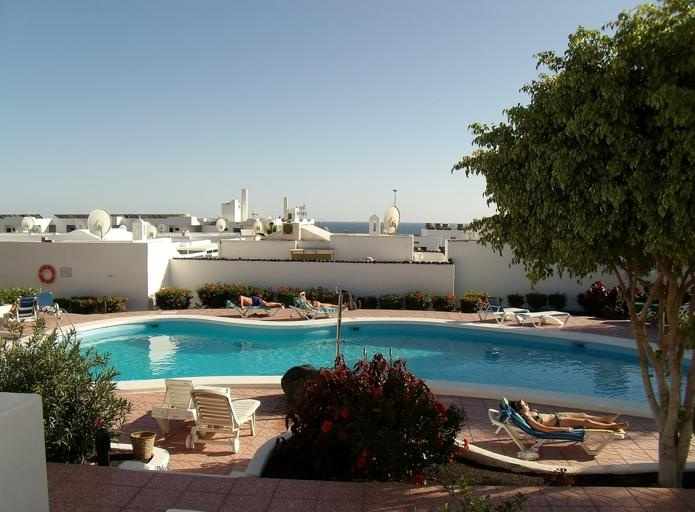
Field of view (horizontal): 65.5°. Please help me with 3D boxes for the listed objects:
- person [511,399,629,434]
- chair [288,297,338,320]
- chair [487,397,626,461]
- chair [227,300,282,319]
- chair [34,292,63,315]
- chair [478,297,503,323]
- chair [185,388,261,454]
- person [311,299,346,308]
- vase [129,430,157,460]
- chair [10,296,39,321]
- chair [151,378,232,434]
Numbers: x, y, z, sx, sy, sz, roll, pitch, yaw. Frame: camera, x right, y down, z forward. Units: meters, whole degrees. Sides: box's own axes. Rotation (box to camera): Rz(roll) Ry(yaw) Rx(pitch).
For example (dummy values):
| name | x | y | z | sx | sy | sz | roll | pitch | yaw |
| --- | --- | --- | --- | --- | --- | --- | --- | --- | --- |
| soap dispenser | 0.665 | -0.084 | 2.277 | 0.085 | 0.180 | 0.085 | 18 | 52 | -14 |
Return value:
| name | x | y | z | sx | sy | sz | roll | pitch | yaw |
| --- | --- | --- | --- | --- | --- | --- | --- | --- | --- |
| person | 3.483 | 2.639 | 8.623 | 1.201 | 0.386 | 0.807 | -2 | -1 | 4 |
| chair | -1.155 | 1.823 | 17.825 | 1.192 | 0.456 | 0.714 | -3 | 9 | -32 |
| chair | 3.258 | 2.733 | 8.609 | 1.793 | 0.773 | 0.963 | -4 | 5 | 6 |
| chair | -3.171 | 1.906 | 18.392 | 1.190 | 0.394 | 0.740 | -2 | 3 | -11 |
| chair | -8.913 | 1.427 | 15.846 | 0.517 | 0.776 | 1.508 | -4 | 1 | -31 |
| chair | 4.800 | 1.714 | 17.963 | 0.555 | 0.664 | 1.048 | 2 | 8 | 18 |
| chair | -2.109 | 2.676 | 9.177 | 0.872 | 0.991 | 1.518 | 0 | -5 | 9 |
| person | -0.622 | 1.667 | 18.516 | 0.467 | 0.235 | 1.548 | -8 | -12 | 44 |
| vase | -2.992 | 2.772 | 7.925 | 0.325 | 0.276 | 0.348 | 0 | -7 | 13 |
| chair | -8.804 | 1.444 | 14.679 | 0.702 | 0.794 | 1.320 | -2 | 12 | -32 |
| chair | -2.725 | 2.471 | 9.510 | 0.743 | 0.910 | 1.422 | 0 | 5 | 6 |
